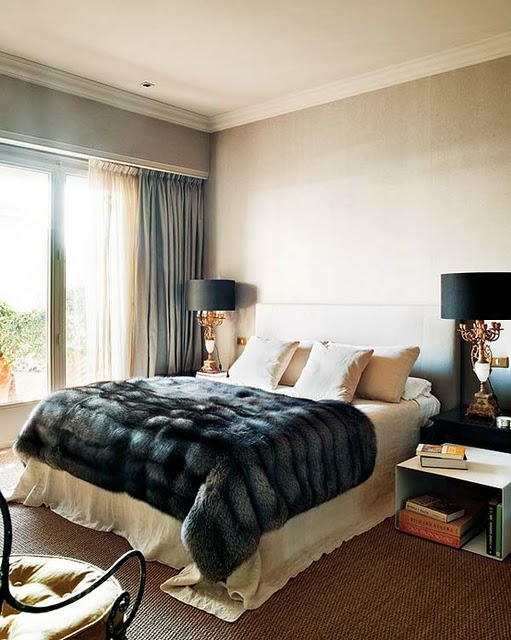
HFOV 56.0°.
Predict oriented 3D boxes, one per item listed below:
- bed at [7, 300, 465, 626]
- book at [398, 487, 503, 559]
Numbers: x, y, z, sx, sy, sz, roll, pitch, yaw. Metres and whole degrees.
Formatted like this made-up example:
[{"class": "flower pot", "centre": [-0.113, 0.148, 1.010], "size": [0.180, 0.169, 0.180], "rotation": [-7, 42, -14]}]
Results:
[{"class": "bed", "centre": [0.221, 0.635, 2.635], "size": [1.652, 0.825, 1.712], "rotation": [6, 11, 41]}, {"class": "book", "centre": [0.985, 0.908, 2.325], "size": [0.487, 0.264, 0.363], "rotation": [0, -1, 45]}]
